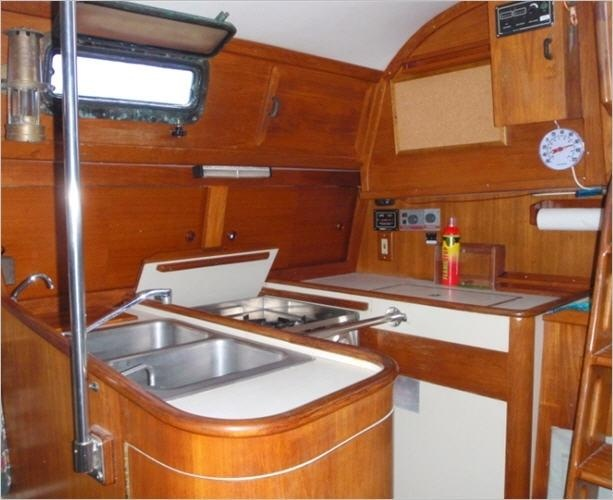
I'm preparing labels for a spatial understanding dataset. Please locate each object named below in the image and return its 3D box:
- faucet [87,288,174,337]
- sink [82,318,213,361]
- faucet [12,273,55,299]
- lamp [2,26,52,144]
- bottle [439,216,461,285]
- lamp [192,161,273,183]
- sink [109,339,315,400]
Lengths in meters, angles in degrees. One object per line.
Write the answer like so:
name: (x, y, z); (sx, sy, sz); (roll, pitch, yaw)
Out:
faucet: (-0.581, 0.173, 1.487); (0.167, 0.097, 0.279); (6, 9, 41)
sink: (-0.815, 0.356, 2.247); (0.328, 0.176, 0.327); (4, 4, 37)
faucet: (-1.366, 0.182, 2.417); (0.191, 0.153, 0.299); (-4, 8, -27)
lamp: (-1.155, -0.665, 2.000); (0.167, 0.424, 0.220); (-6, 10, -36)
bottle: (0.922, 0.002, 3.131); (0.122, 0.431, 0.289); (2, 8, 15)
lamp: (-0.417, -0.458, 2.829); (0.505, 0.080, 0.082); (-6, 9, -41)
sink: (-0.318, 0.436, 1.840); (0.349, 0.135, 0.409); (-4, 4, -40)
